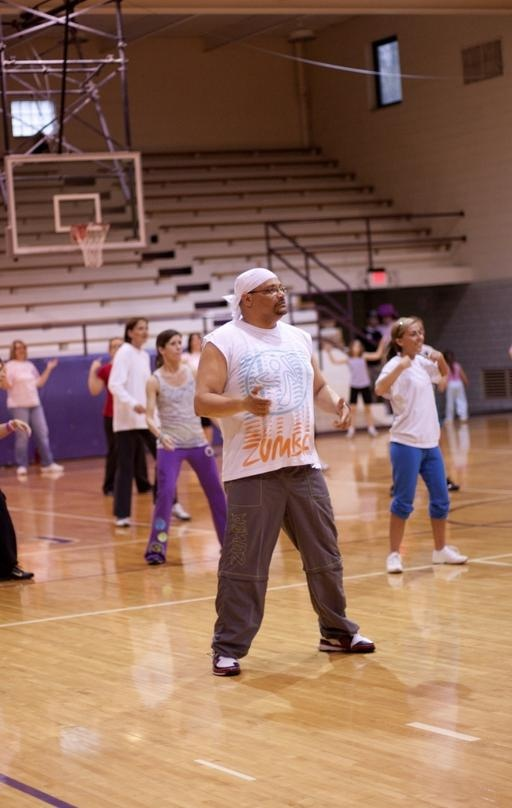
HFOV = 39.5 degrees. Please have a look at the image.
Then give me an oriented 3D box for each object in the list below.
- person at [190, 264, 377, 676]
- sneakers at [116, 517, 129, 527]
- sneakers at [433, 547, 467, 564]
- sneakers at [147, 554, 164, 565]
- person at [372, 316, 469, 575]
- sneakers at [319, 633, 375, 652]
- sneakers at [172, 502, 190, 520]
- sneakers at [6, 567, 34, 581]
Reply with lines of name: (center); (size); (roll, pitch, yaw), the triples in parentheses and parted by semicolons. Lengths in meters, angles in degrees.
person: (0.065, 0.401, 3.007); (0.657, 1.509, 0.392); (-9, 5, -45)
sneakers: (-1.384, 1.245, 7.518); (0.100, 0.145, 0.157); (2, -5, -27)
sneakers: (1.332, 1.041, 4.910); (0.227, 0.100, 0.107); (-1, 0, 3)
sneakers: (-0.801, 1.230, 5.632); (0.091, 0.039, 0.114); (3, -1, -1)
person: (1.085, 0.276, 4.841); (0.470, 1.725, 0.642); (-3, 4, 35)
sneakers: (0.405, 1.061, 3.238); (0.263, 0.111, 0.095); (-4, -5, 18)
sneakers: (-0.810, 1.191, 7.821); (0.110, 0.123, 0.297); (3, 4, -37)
sneakers: (-1.807, 1.312, 5.495); (0.253, 0.106, 0.093); (-2, -3, 6)
